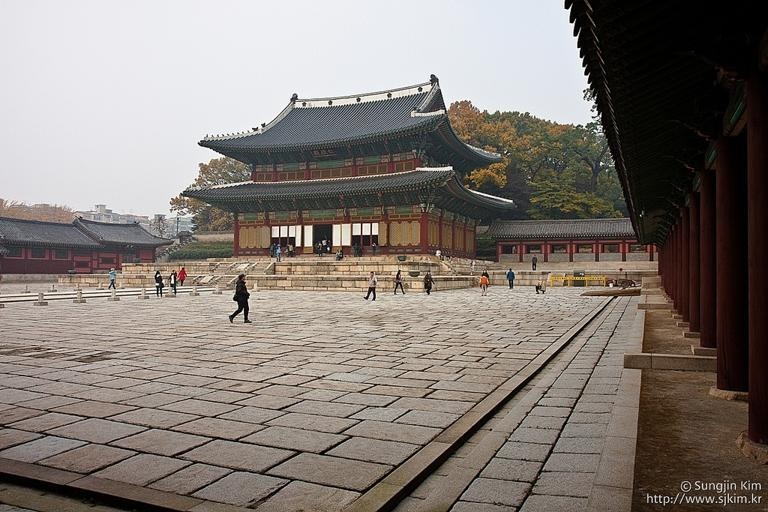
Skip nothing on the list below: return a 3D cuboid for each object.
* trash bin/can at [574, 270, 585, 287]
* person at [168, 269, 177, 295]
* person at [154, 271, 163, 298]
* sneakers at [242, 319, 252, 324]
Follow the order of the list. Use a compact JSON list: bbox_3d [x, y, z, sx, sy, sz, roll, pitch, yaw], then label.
[{"bbox_3d":[11.513,1.306,33.319,0.598,0.936,1.758,-3,-4,18],"label":"trash bin/can"},{"bbox_3d":[-9.499,1.238,25.374,0.227,1.046,0.455,0,-4,-16],"label":"person"},{"bbox_3d":[-10.330,1.251,25.917,0.288,1.154,1.792,0,-4,-20],"label":"person"},{"bbox_3d":[-3.424,1.633,14.135,0.262,0.109,0.087,1,-1,-17],"label":"sneakers"}]
